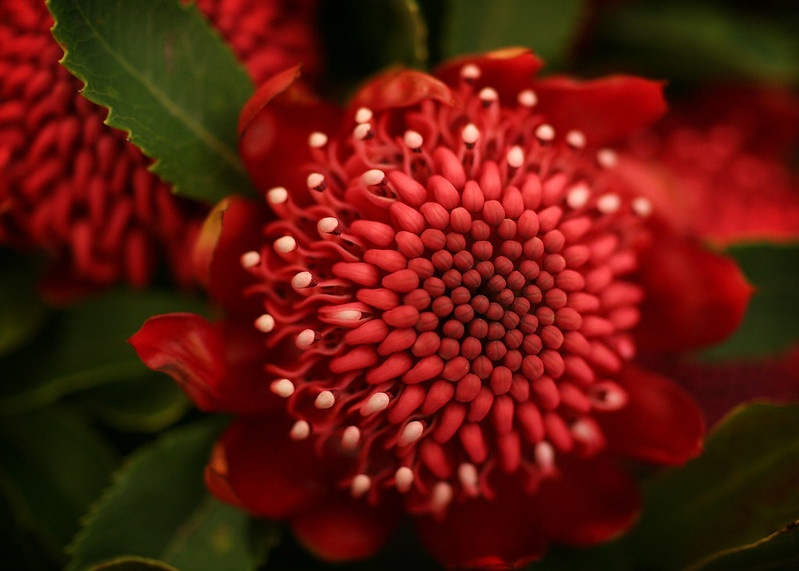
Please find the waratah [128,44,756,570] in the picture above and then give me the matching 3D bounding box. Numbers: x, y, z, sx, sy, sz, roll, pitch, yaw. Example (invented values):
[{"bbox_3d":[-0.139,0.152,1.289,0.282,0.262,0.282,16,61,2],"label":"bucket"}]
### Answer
[{"bbox_3d":[0.095,0.039,1.373,1.044,0.257,0.972,-20,81,-3],"label":"waratah"}]
